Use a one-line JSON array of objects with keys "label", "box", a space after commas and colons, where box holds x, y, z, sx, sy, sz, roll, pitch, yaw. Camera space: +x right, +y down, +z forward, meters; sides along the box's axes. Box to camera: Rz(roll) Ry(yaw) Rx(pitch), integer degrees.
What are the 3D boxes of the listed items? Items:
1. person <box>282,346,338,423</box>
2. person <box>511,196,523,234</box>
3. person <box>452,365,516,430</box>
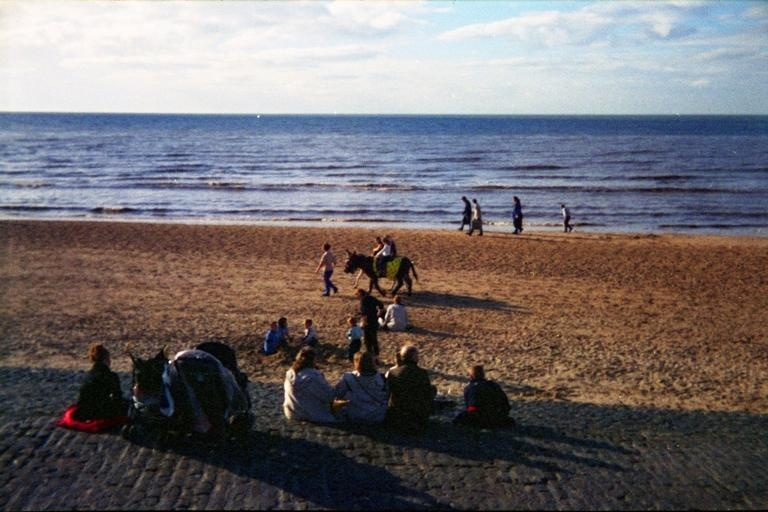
[{"label": "person", "box": [-1.776, 2.996, 16.368, 1.216, 1.702, 0.476, -3, 14, -1]}, {"label": "person", "box": [6.340, -1.928, 33.770, 0.458, 1.846, 1.370, 0, 14, 11]}, {"label": "person", "box": [2.302, 3.283, 16.437, 1.288, 1.334, 0.530, -1, 14, 8]}]
